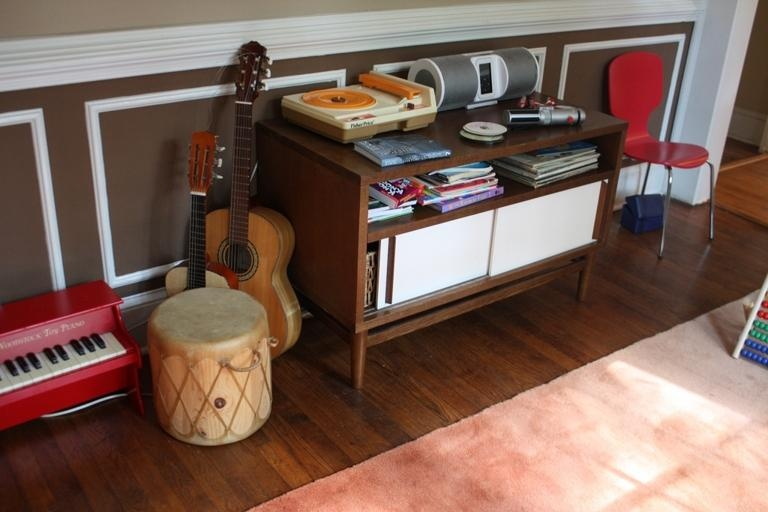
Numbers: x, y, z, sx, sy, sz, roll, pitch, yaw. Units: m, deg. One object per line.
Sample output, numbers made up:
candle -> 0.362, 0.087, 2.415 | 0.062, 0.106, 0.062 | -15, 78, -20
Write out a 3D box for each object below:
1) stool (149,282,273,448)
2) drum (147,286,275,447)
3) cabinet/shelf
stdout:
stool -> -0.661, 0.400, 2.196 | 0.446, 0.442, 0.429 | 7, 26, -3
drum -> -0.626, 0.408, 2.147 | 0.412, 0.424, 0.390 | -6, 34, -6
cabinet/shelf -> 0.287, -0.205, 2.757 | 1.524, 0.837, 0.787 | -15, 31, -33
